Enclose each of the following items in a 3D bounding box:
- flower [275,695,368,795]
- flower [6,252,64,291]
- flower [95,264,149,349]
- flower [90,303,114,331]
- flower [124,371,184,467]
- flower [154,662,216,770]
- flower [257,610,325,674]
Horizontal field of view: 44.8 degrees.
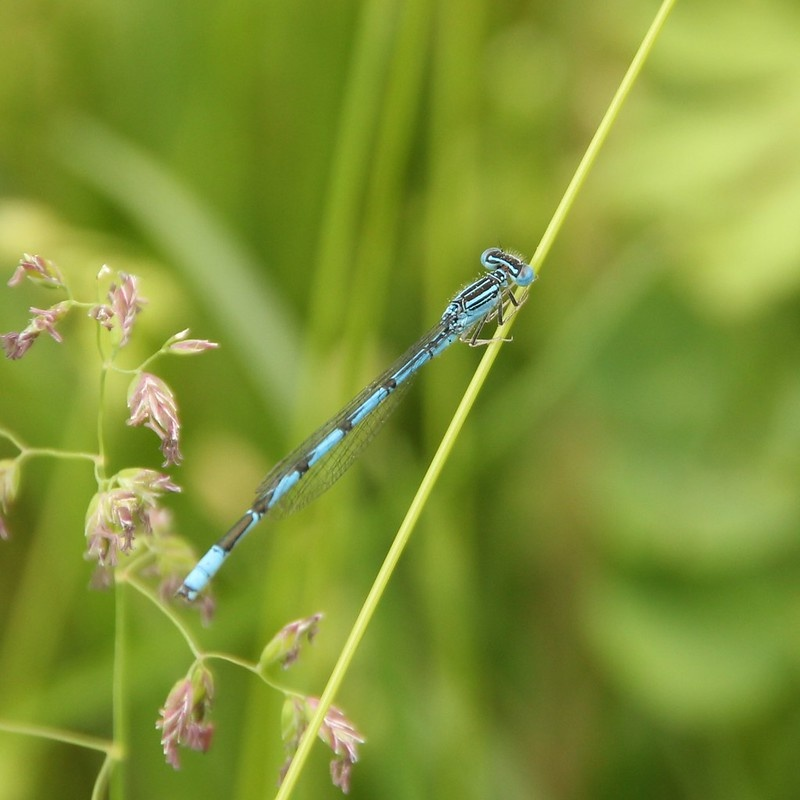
[{"bbox_3d":[-0.262,1.121,3.146,0.260,0.305,0.115,23,-32,-6],"label":"flower"},{"bbox_3d":[-1.166,-0.404,3.067,0.055,0.148,0.151,21,-3,-29],"label":"flower"},{"bbox_3d":[-0.855,-0.275,2.987,0.081,0.208,0.113,-1,-44,4],"label":"flower"},{"bbox_3d":[-0.918,-0.244,2.992,0.030,0.056,0.090,-24,-89,54],"label":"flower"},{"bbox_3d":[-0.778,0.035,3.051,0.142,0.340,0.134,-6,-8,-9],"label":"flower"},{"bbox_3d":[-0.665,1.014,3.080,0.133,0.313,0.262,1,-33,21],"label":"flower"},{"bbox_3d":[-0.389,0.832,3.343,0.133,0.287,0.087,53,-5,-25],"label":"flower"}]
